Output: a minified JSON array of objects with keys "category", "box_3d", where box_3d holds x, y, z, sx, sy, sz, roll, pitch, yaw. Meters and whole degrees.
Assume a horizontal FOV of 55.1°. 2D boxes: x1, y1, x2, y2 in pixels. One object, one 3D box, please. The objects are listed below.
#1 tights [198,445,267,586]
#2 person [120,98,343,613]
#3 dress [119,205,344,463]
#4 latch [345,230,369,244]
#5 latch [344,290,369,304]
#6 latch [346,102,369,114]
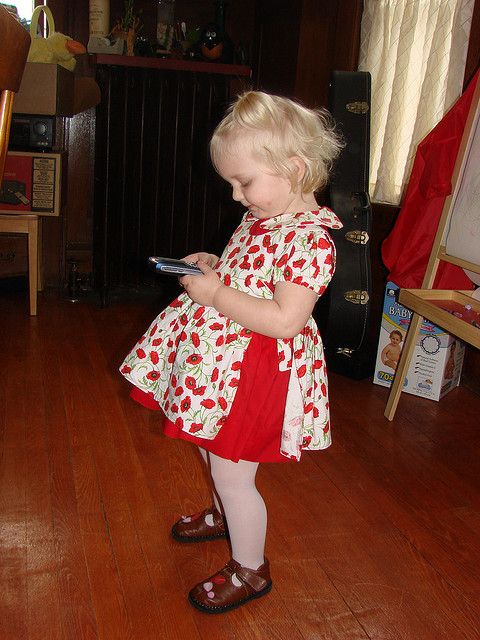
[{"category":"tights","box_3d":[-0.003,0.351,0.847,0.117,0.272,0.101,3,9,-2]},{"category":"person","box_3d":[-0.022,0.102,0.892,0.389,0.929,0.374,6,9,18]},{"category":"dress","box_3d":[-0.011,-0.042,0.824,0.291,0.452,0.383,-16,49,-28]},{"category":"latch","box_3d":[0.528,-0.375,2.073,0.103,0.055,0.020,6,9,12]},{"category":"latch","box_3d":[0.542,-0.111,2.128,0.109,0.063,0.023,7,10,17]},{"category":"latch","box_3d":[0.515,-0.921,1.994,0.082,0.046,0.014,3,5,5]}]
